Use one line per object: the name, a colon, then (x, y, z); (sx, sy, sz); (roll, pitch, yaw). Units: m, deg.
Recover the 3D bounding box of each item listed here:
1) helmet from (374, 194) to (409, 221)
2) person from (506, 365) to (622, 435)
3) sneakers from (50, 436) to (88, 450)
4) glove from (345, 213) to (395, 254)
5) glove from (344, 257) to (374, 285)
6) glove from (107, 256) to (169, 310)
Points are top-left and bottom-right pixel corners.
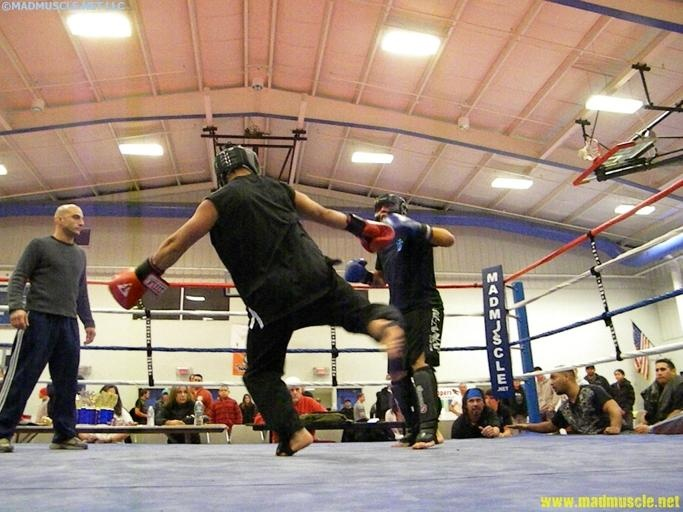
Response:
helmet: (0.293, -0.298, 2.996); (0.220, 0.145, 0.184); (22, 18, -2)
person: (1.777, 1.107, 3.787); (0.643, 0.517, 1.090); (-2, -14, -2)
sneakers: (-1.520, 1.048, 2.840); (0.256, 0.084, 0.080); (2, -18, -2)
glove: (0.134, -0.100, 2.264); (0.243, 0.130, 0.089); (16, -9, -5)
glove: (0.111, 0.089, 2.963); (0.119, 0.100, 0.192); (16, -2, 2)
glove: (-0.835, 0.119, 2.109); (0.276, 0.149, 0.120); (-33, 6, 9)
